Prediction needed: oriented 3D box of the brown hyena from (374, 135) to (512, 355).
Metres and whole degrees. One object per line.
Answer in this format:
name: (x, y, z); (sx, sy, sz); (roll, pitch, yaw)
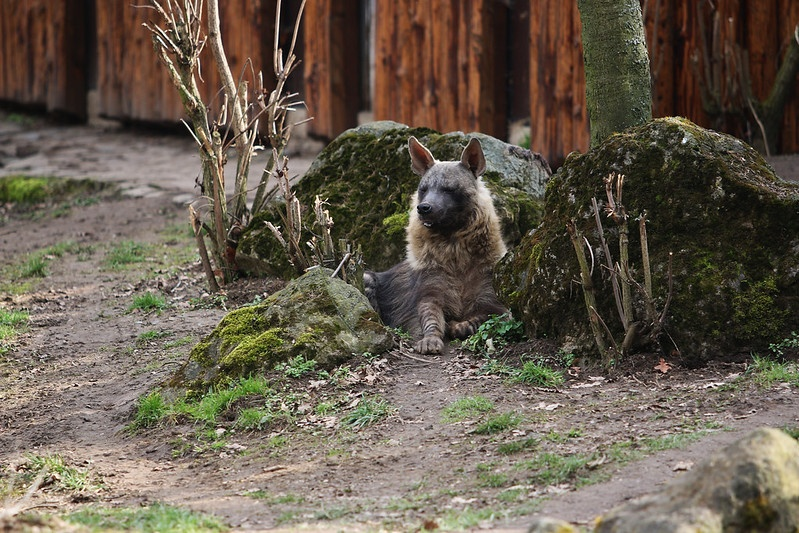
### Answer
brown hyena: (0.559, -0.380, 17.958); (1.649, 2.576, 1.122); (0, 4, 5)
